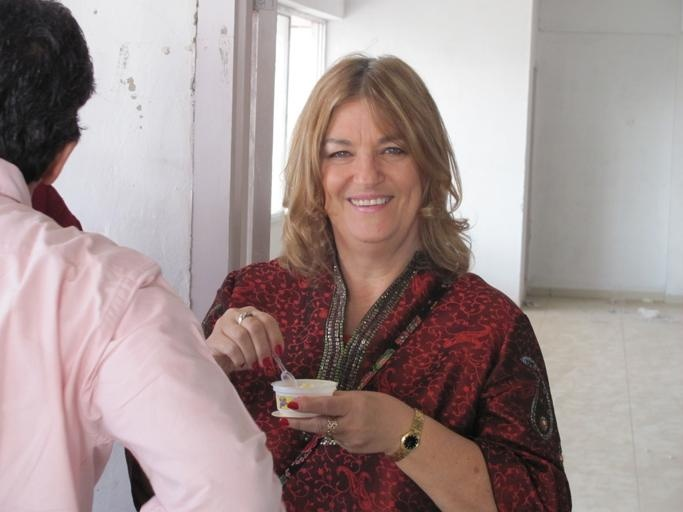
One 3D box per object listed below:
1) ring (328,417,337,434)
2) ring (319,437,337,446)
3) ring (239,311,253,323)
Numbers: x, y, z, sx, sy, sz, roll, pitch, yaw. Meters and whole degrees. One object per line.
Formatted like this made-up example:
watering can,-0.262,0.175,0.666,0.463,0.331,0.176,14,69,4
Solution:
ring,-0.019,0.320,1.118,0.019,0.030,0.026,1,-2,-1
ring,-0.030,0.417,1.337,0.040,0.024,0.012,4,8,21
ring,-0.212,0.134,1.315,0.008,0.023,0.023,40,-36,-25
